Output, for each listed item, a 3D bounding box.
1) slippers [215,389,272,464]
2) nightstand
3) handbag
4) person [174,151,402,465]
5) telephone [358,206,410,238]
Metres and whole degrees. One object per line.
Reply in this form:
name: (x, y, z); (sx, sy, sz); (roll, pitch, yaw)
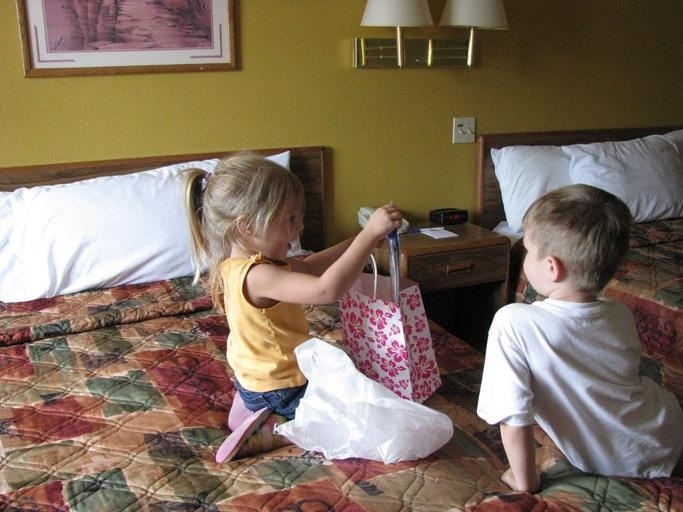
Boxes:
slippers: (-0.279, 0.453, 1.367); (0.200, 0.083, 0.062); (-32, -12, -49)
nightstand: (0.460, 0.006, 2.714); (0.621, 0.495, 0.428); (-9, 30, -16)
handbag: (0.128, 0.242, 1.450); (0.354, 0.305, 0.137); (22, 40, 41)
person: (-0.164, 0.090, 1.478); (0.576, 0.756, 0.514); (-11, 19, -17)
telephone: (0.186, -0.210, 2.669); (0.254, 0.084, 0.200); (20, 21, 37)
